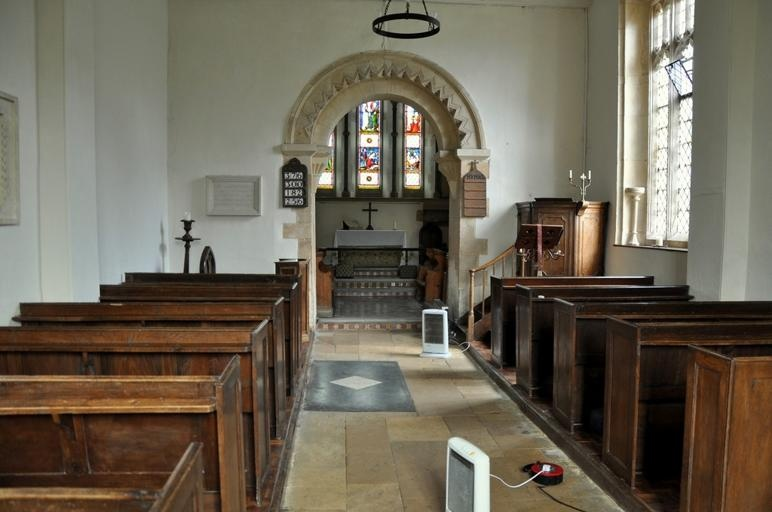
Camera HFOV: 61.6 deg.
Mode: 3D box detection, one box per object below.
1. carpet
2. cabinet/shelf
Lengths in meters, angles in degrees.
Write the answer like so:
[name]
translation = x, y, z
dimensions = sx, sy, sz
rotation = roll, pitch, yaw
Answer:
[carpet]
translation = -0.345, 1.557, 7.795
dimensions = 1.228, 0.128, 1.748
rotation = -4, 11, -5
[cabinet/shelf]
translation = 2.548, -0.353, 10.351
dimensions = 1.145, 1.717, 1.572
rotation = -4, 6, -32
